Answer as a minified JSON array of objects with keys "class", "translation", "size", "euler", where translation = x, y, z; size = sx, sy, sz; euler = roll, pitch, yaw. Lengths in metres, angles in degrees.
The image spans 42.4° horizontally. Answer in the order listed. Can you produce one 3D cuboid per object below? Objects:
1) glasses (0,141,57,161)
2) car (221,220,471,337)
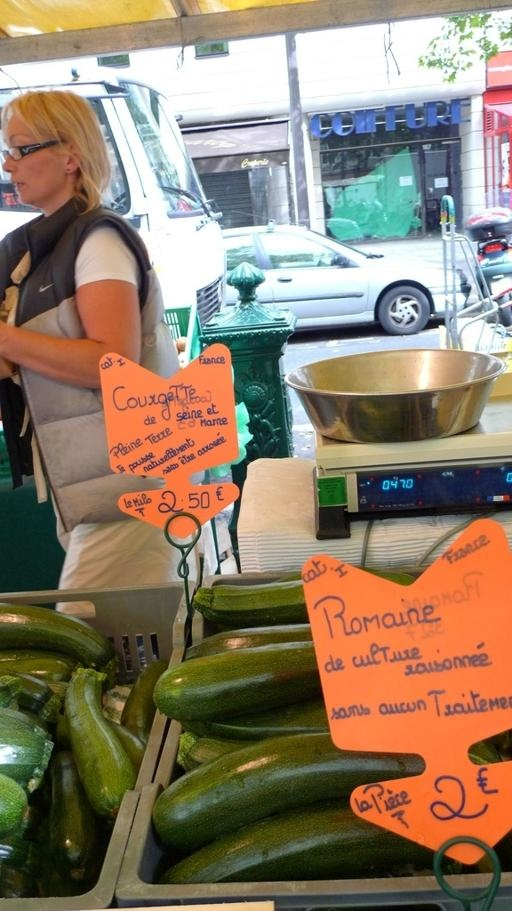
[{"class":"glasses","translation":[-0.617,-0.841,1.816],"size":[0.107,0.031,0.105],"euler":[-18,22,-23]},{"class":"car","translation":[1.195,-2.524,9.869],"size":[4.161,1.522,1.806],"euler":[-4,20,1]}]
